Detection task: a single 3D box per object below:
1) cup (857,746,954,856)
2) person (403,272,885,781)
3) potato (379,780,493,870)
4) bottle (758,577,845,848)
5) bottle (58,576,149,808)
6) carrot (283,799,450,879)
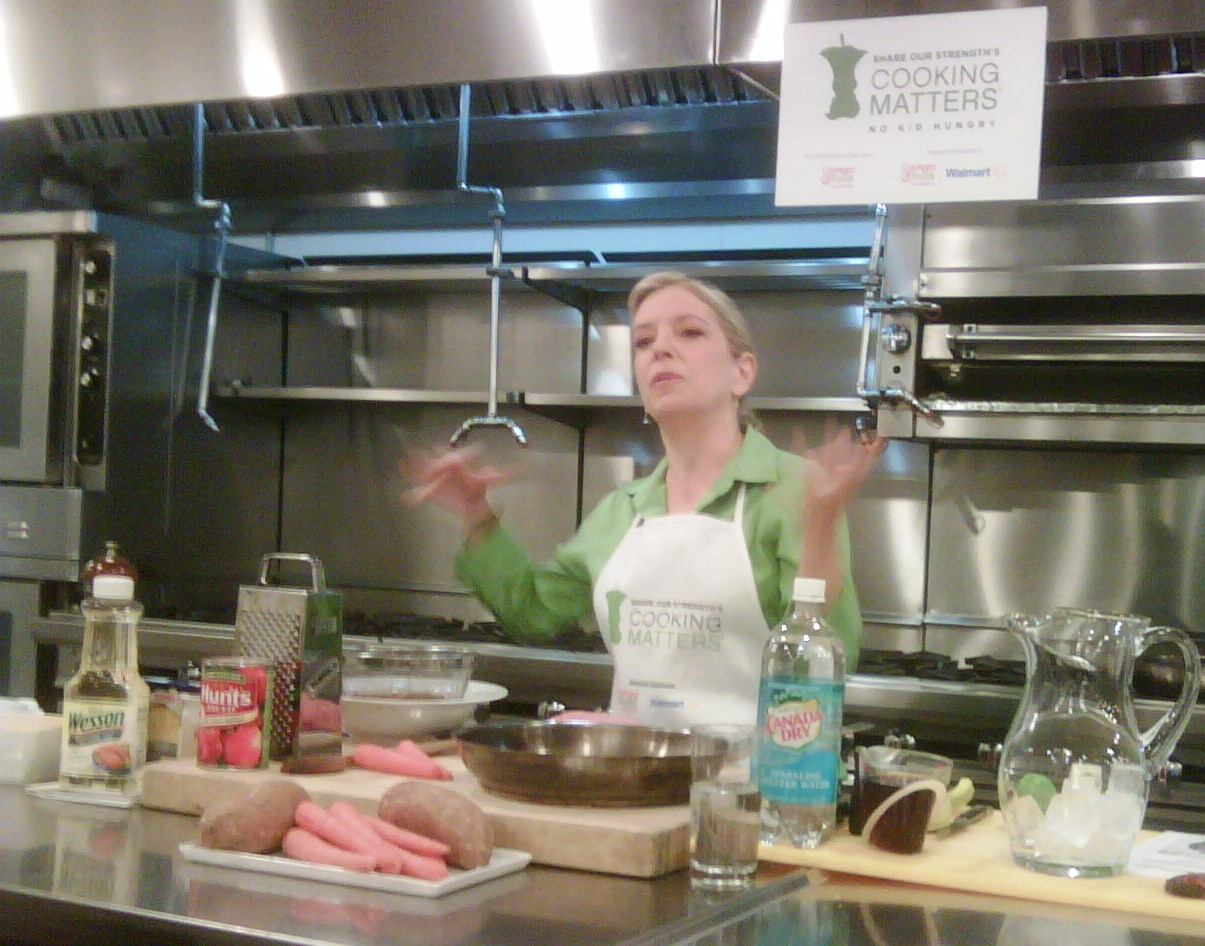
[{"bbox_3d":[0.338,0.374,1.190,0.116,0.106,0.094,13,-12,-26],"label":"cup"},{"bbox_3d":[0.121,0.076,2.226,0.792,1.188,0.439,-20,-37,35],"label":"person"},{"bbox_3d":[-0.171,0.369,1.106,0.124,0.062,0.057,24,-20,18],"label":"potato"},{"bbox_3d":[0.228,0.290,1.215,0.098,0.313,0.140,2,14,12],"label":"bottle"},{"bbox_3d":[-0.671,0.281,1.429,0.127,0.318,0.133,6,10,-1],"label":"bottle"},{"bbox_3d":[-0.253,0.365,1.101,0.077,0.044,0.135,-11,15,-44],"label":"carrot"}]
